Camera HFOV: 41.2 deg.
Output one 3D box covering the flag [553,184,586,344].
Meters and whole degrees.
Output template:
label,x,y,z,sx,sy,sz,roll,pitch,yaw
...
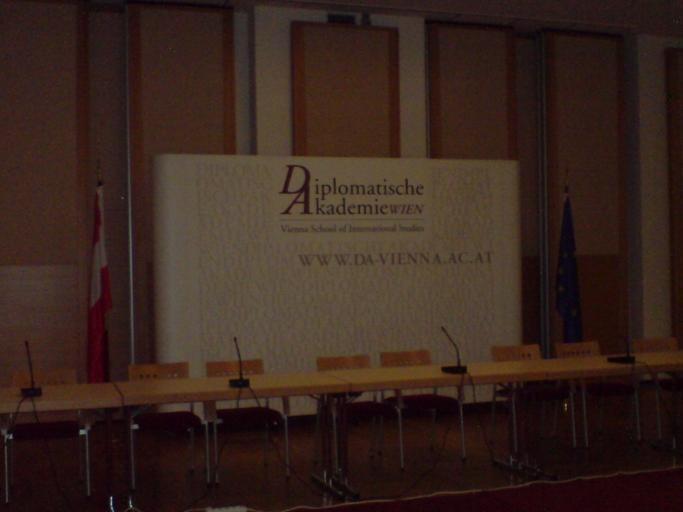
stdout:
label,x,y,z,sx,sy,sz,roll,pitch,yaw
flag,2.945,0.359,11.810,0.364,2.807,0.531,-11,37,2
